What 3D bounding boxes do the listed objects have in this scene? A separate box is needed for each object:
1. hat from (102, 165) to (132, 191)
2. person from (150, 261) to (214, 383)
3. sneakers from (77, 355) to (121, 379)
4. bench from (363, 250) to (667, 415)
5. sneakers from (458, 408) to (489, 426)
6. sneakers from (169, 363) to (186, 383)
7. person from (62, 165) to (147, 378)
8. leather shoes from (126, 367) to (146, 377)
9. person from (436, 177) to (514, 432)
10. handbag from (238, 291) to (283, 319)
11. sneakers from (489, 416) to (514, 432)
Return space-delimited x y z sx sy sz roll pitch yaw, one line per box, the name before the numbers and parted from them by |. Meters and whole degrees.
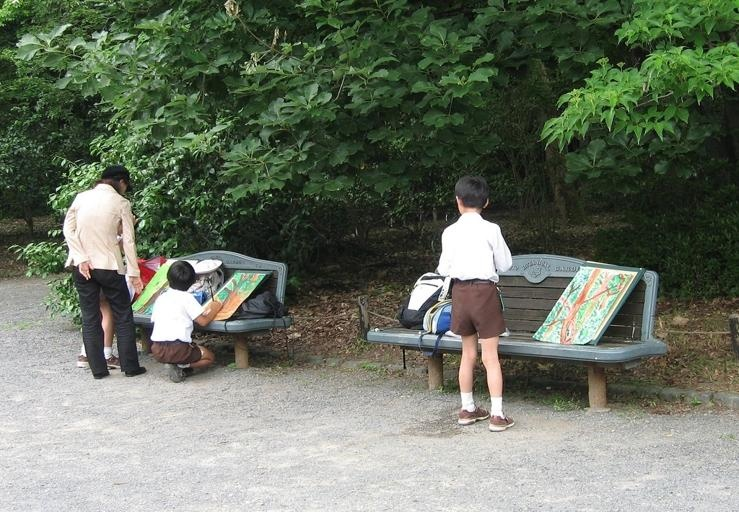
hat | -3.091 -0.934 10.922 0.301 0.323 0.384 6 6 29
person | -2.187 0.755 10.554 0.785 1.364 0.414 -17 20 -42
sneakers | -3.364 1.319 11.056 0.639 0.209 0.195 -2 2 1
bench | 1.507 0.805 9.914 1.185 1.445 3.568 -12 9 -42
sneakers | 1.011 1.557 8.822 0.370 0.139 0.124 -4 6 -31
sneakers | -2.228 1.359 10.460 0.136 0.267 0.107 -18 -13 -8
person | -3.108 0.191 10.680 0.768 2.440 0.747 -9 16 -17
leather shoes | -2.766 1.367 10.803 0.089 0.093 0.253 10 13 42
person | 1.041 0.438 8.752 0.680 2.359 0.955 -4 15 0
handbag | -1.320 0.587 10.978 0.446 0.166 0.313 -4 10 -18
sneakers | 1.260 1.589 8.630 0.111 0.097 0.265 4 7 44
